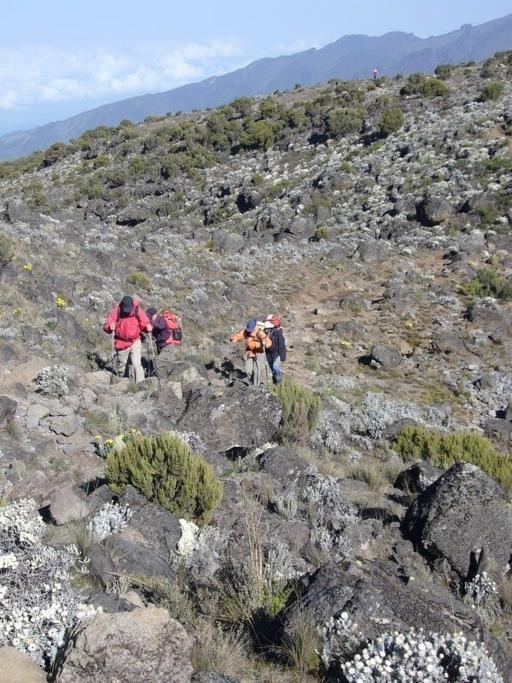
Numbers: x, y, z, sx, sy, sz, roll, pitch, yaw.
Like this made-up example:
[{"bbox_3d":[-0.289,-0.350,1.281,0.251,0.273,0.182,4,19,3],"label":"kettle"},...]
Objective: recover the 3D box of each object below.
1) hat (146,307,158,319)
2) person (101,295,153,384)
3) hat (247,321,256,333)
[{"bbox_3d":[-1.957,-0.529,11.847,0.266,0.136,0.188,21,-4,-37],"label":"hat"},{"bbox_3d":[-2.209,-0.048,10.720,0.810,1.628,0.732,9,24,28],"label":"person"},{"bbox_3d":[-0.088,-0.302,11.188,0.165,0.128,0.220,3,35,12],"label":"hat"}]
